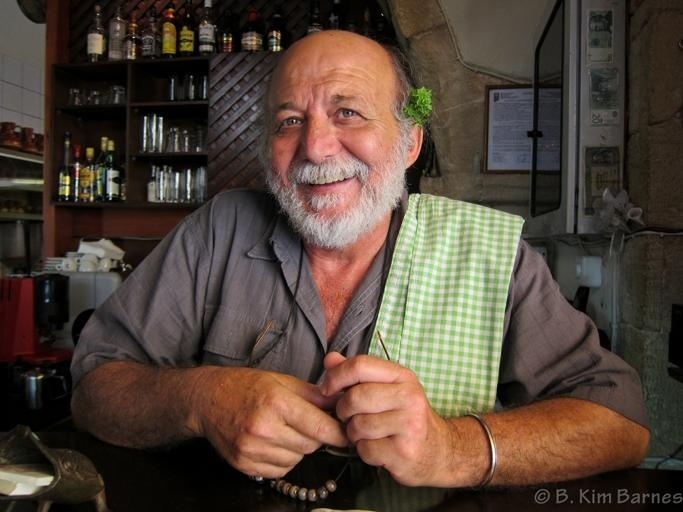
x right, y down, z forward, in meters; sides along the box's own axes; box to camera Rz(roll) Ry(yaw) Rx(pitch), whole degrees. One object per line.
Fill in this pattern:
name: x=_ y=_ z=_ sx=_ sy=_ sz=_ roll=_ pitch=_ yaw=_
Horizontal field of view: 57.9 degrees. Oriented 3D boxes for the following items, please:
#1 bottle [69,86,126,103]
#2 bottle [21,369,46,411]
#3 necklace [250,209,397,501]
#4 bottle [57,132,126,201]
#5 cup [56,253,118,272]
bottle: x=-1.567 y=-0.992 z=3.886 sx=0.178 sy=0.088 sz=0.255 roll=8 pitch=11 yaw=42
bottle: x=-0.990 y=0.418 z=1.962 sx=0.121 sy=0.124 sz=0.051 roll=2 pitch=0 yaw=37
necklace: x=-0.043 y=0.239 z=1.442 sx=0.399 sy=0.487 sz=0.180 roll=-6 pitch=-20 yaw=6
bottle: x=-1.570 y=-0.551 z=3.851 sx=0.441 sy=0.515 sz=0.175 roll=1 pitch=0 yaw=-4
cup: x=-1.271 y=0.034 z=3.025 sx=0.168 sy=0.058 sz=0.134 roll=2 pitch=-1 yaw=8
